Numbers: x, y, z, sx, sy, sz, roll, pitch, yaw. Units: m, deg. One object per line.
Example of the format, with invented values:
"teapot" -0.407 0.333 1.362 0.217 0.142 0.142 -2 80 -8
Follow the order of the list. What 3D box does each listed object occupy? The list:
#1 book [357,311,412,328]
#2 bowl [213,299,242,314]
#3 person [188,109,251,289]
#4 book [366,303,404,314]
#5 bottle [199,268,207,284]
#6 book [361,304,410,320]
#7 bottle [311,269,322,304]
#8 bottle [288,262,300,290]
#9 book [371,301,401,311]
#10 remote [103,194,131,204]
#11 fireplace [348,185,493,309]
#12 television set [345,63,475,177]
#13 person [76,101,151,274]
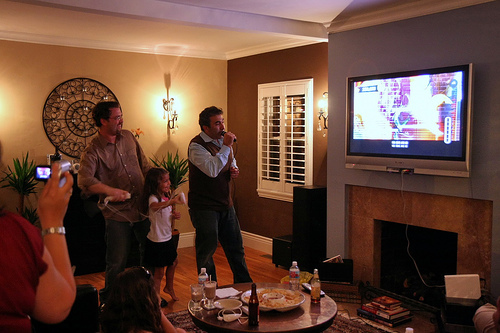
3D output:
"book" 1.403 1.570 3.725 0.223 0.063 0.315 -1 3 -38
"bowl" -0.172 1.066 2.806 0.216 0.035 0.137 -1 8 -2
"person" -0.344 0.319 3.789 0.537 1.816 0.471 -5 9 -28
"book" 1.404 1.466 3.750 0.140 0.021 0.150 -2 5 -32
"bottle" -0.395 0.878 3.020 0.061 0.127 0.144 -2 8 -9
"book" 1.407 1.507 3.755 0.197 0.041 0.194 9 8 44
"bottle" 0.543 0.964 2.974 0.081 0.219 0.253 1 8 10
"bottle" 0.379 0.955 3.150 0.094 0.323 0.273 1 8 8
"book" 1.408 1.437 3.754 0.285 0.053 0.113 2 8 17
"remote" -1.288 0.302 3.518 0.246 0.062 0.144 -4 9 -24
"fireplace" 1.855 0.863 3.918 0.490 1.131 1.377 -2 4 -36
"television set" 1.715 -0.484 3.779 0.136 0.959 1.319 -1 2 -43
"person" -1.345 0.191 3.685 0.716 1.673 0.501 -5 9 -28
